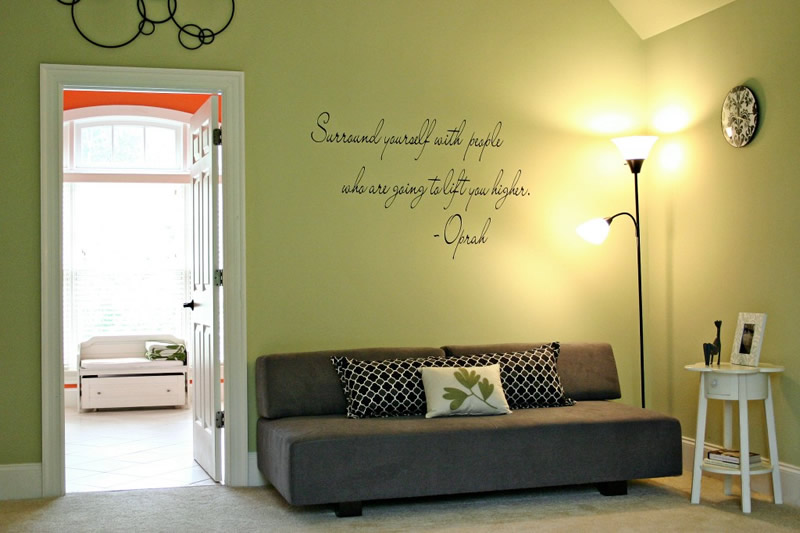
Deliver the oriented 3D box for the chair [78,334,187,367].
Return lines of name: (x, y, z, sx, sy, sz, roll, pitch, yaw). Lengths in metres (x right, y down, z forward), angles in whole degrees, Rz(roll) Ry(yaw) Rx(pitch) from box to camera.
chair: (-3.524, 1.026, 7.783, 1.131, 0.281, 0.216, 0, -1, -21)

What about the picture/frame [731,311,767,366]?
picture/frame: (2.451, 0.509, 4.268, 0.213, 0.362, 0.173, -1, -1, 37)

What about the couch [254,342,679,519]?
couch: (0.389, 1.111, 4.348, 2.756, 1.009, 1.033, 0, -1, -16)

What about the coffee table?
coffee table: (2.337, 1.167, 4.232, 0.633, 0.878, 0.639, 1, -4, -24)

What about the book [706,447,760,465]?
book: (2.294, 1.303, 4.154, 0.177, 0.042, 0.172, -2, -4, 34)
